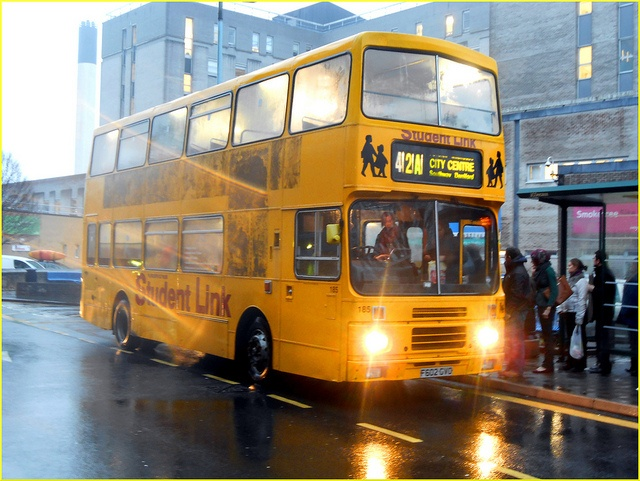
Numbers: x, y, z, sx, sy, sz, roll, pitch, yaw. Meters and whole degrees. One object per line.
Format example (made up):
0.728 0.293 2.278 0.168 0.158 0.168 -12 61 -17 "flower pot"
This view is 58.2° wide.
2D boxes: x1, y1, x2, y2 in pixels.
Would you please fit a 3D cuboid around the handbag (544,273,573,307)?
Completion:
4.780 1.004 11.439 0.329 0.414 0.581 -39 3 6 "handbag"

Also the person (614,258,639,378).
6.035 1.271 11.182 0.339 1.684 1.393 1 0 28 "person"

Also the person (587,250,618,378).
5.645 1.399 11.386 0.466 2.424 0.546 1 1 28 "person"

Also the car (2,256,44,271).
-18.788 1.405 35.993 2.071 0.761 2.556 0 0 -42 "car"

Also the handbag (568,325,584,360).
5.161 2.026 11.447 0.266 0.722 0.309 1 1 25 "handbag"

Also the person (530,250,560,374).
4.514 1.384 11.467 0.500 2.413 0.678 1 1 22 "person"

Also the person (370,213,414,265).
1.098 -0.041 8.829 0.706 0.934 0.209 -1 -1 -11 "person"
